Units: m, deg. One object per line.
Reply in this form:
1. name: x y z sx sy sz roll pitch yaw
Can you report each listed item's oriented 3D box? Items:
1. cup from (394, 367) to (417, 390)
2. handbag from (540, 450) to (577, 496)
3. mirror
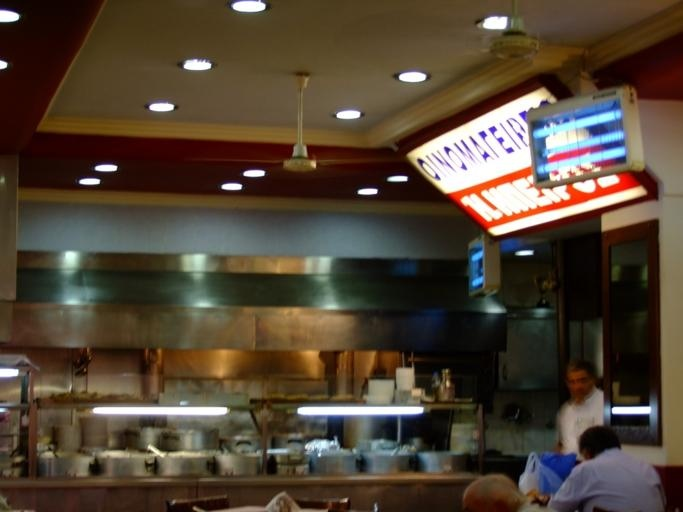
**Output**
1. cup: 0.623 1.173 7.693 0.199 0.222 0.207 0 -11 0
2. handbag: 1.634 1.645 6.167 0.262 0.270 0.097 18 -6 -4
3. mirror: 1.852 0.565 5.528 0.623 1.512 0.066 -3 5 0
